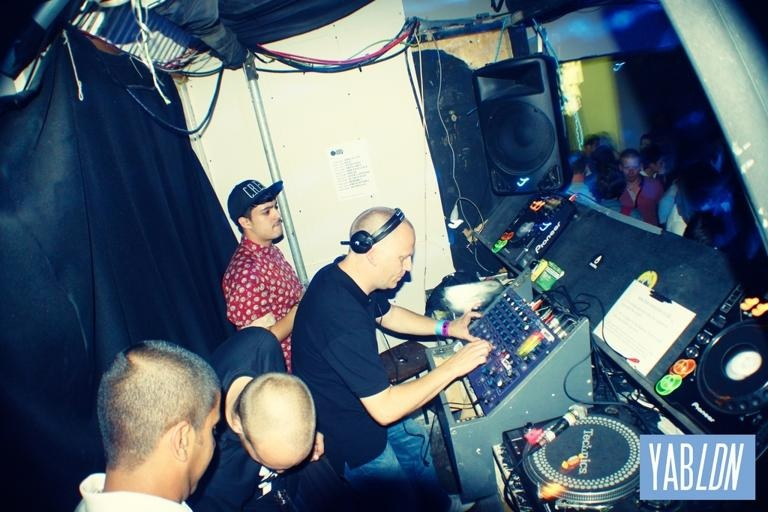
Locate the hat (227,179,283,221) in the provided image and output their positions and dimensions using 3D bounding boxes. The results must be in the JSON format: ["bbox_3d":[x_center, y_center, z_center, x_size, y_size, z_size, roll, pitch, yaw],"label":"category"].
[{"bbox_3d":[-0.960,-0.423,4.141,0.413,0.216,0.255,-35,9,4],"label":"hat"}]

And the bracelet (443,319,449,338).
[{"bbox_3d":[0.378,0.451,3.594,0.025,0.074,0.070,4,-7,0],"label":"bracelet"}]

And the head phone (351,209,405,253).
[{"bbox_3d":[-0.016,-0.098,3.237,0.265,0.090,0.201,-40,31,-4],"label":"head phone"}]
